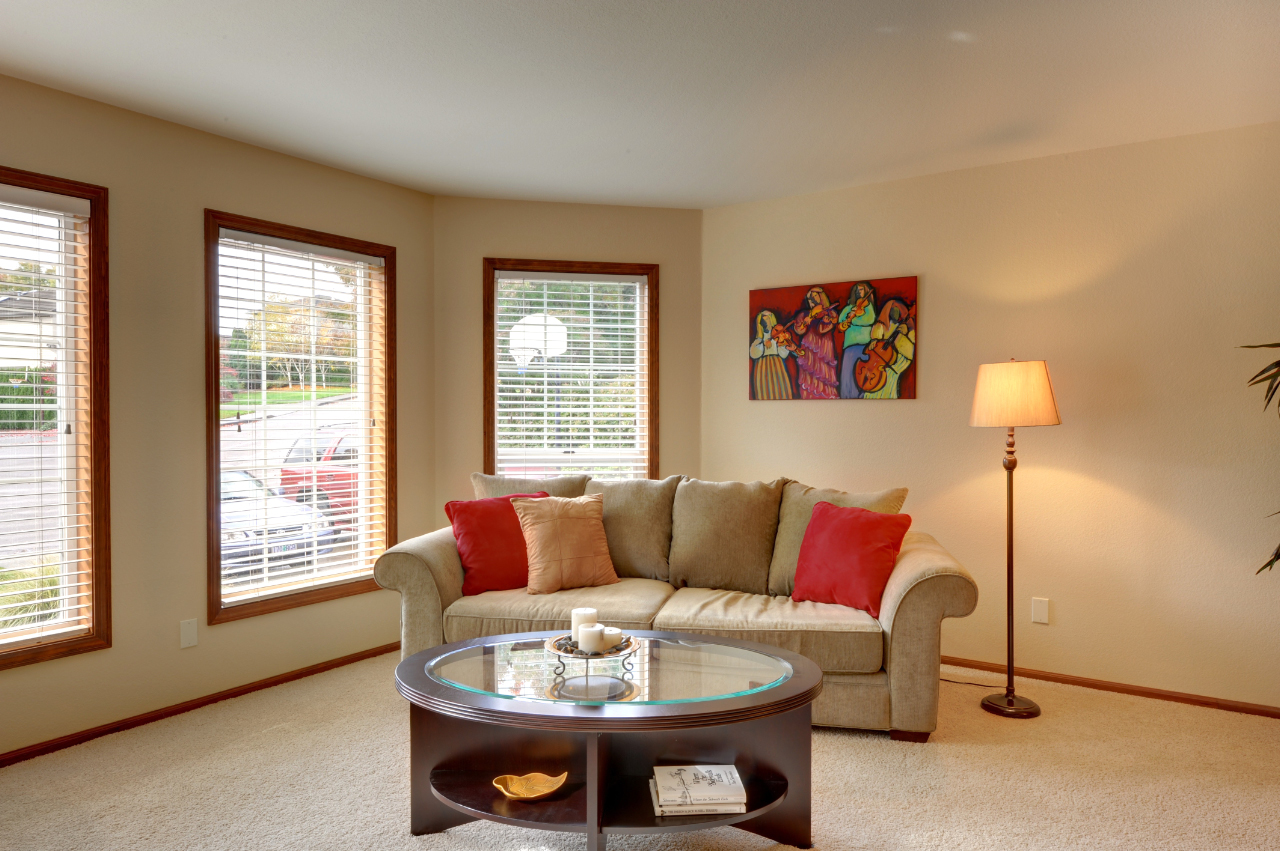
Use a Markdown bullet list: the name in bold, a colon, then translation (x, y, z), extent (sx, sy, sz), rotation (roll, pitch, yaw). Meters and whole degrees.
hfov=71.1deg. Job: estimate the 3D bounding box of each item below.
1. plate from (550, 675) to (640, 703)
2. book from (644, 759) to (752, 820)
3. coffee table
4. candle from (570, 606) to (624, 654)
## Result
- **plate**: translation (-0.184, 1.096, 3.719), extent (0.318, 0.012, 0.262), rotation (-1, 11, -4)
- **book**: translation (0.243, 1.500, 3.700), extent (0.378, 0.082, 0.284), rotation (0, 11, -1)
- **coffee table**: translation (-0.140, 1.391, 3.862), extent (1.823, 0.777, 0.791), rotation (0, 12, 3)
- **candle**: translation (-0.193, 0.908, 3.956), extent (0.255, 0.173, 0.142), rotation (0, 5, 11)
